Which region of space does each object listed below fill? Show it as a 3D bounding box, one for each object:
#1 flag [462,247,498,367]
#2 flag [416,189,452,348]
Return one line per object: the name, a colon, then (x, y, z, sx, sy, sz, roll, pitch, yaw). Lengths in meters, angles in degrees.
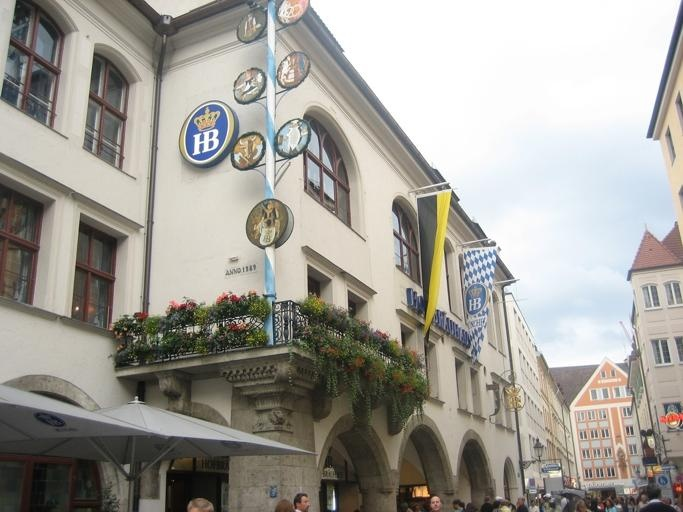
flag: (5.775, 1.741, 26.700, 0.675, 4.732, 1.924, 17, -31, -37)
flag: (3.312, 0.207, 22.468, 1.223, 5.476, 0.712, -8, -25, 13)
